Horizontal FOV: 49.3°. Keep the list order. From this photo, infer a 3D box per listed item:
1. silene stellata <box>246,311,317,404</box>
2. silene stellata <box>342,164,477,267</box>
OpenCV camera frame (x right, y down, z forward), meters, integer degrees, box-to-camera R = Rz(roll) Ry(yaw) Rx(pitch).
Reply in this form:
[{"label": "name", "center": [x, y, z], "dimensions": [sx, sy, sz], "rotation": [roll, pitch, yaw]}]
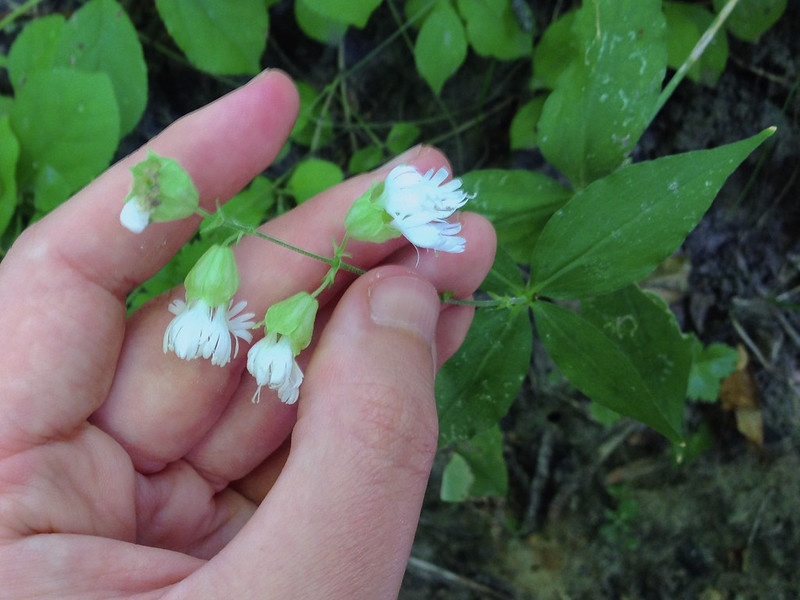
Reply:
[{"label": "silene stellata", "center": [-0.239, 0.105, 1.769], "dimensions": [0.104, 0.133, 0.184], "rotation": [17, 65, 22]}, {"label": "silene stellata", "center": [0.010, -0.179, 1.717], "dimensions": [0.240, 0.091, 0.128], "rotation": [7, 62, 19]}]
